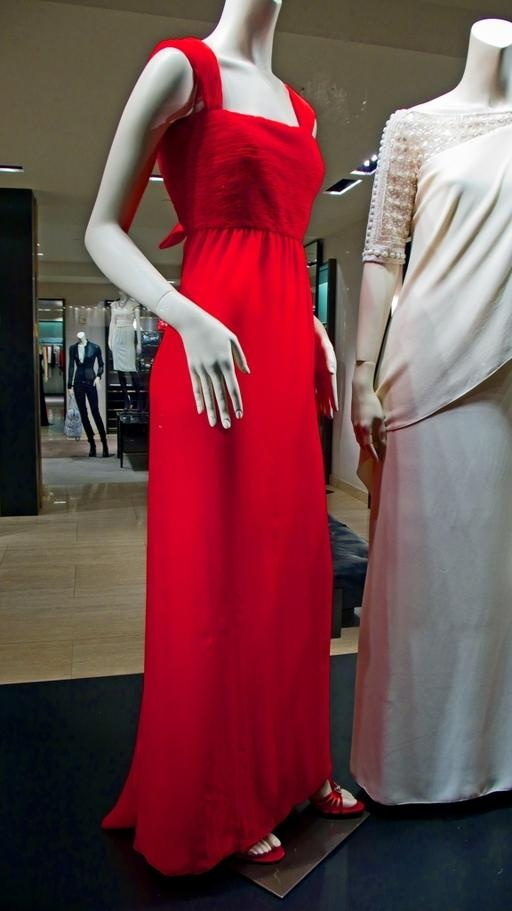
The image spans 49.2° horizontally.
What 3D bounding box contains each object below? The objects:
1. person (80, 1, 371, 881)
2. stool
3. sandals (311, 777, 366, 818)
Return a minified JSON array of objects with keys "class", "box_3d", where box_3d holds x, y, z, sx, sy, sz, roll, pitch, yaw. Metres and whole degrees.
[{"class":"person","box_3d":[-0.052,-0.002,0.939,0.320,1.394,0.506,0,-1,27]},{"class":"stool","box_3d":[0.350,0.429,2.100,0.095,0.324,0.303,18,53,33]},{"class":"sandals","box_3d":[0.155,0.648,1.074,0.086,0.049,0.054,-2,5,16]}]
